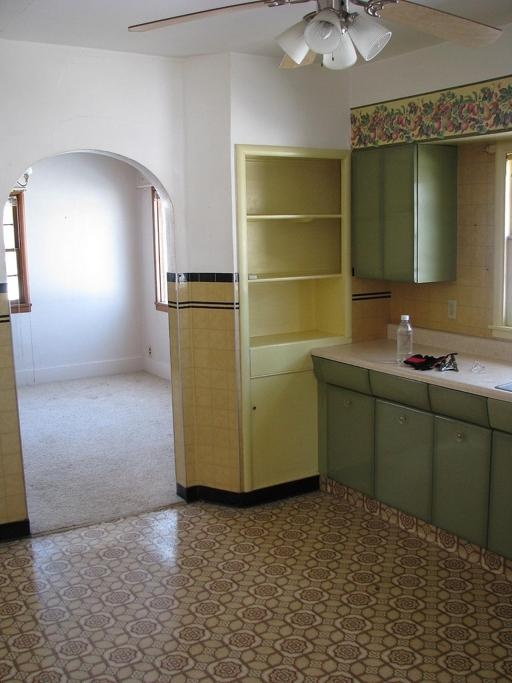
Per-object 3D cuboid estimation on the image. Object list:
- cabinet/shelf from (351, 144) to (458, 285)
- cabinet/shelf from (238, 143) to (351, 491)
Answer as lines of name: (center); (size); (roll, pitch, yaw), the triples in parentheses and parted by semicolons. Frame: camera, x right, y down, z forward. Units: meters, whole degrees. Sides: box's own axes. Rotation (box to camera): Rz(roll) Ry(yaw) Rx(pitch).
cabinet/shelf: (0.950, -0.832, 3.595); (0.407, 0.795, 0.569); (-11, 15, -34)
cabinet/shelf: (0.205, -0.099, 3.708); (0.841, 2.263, 0.332); (-3, 9, -19)
